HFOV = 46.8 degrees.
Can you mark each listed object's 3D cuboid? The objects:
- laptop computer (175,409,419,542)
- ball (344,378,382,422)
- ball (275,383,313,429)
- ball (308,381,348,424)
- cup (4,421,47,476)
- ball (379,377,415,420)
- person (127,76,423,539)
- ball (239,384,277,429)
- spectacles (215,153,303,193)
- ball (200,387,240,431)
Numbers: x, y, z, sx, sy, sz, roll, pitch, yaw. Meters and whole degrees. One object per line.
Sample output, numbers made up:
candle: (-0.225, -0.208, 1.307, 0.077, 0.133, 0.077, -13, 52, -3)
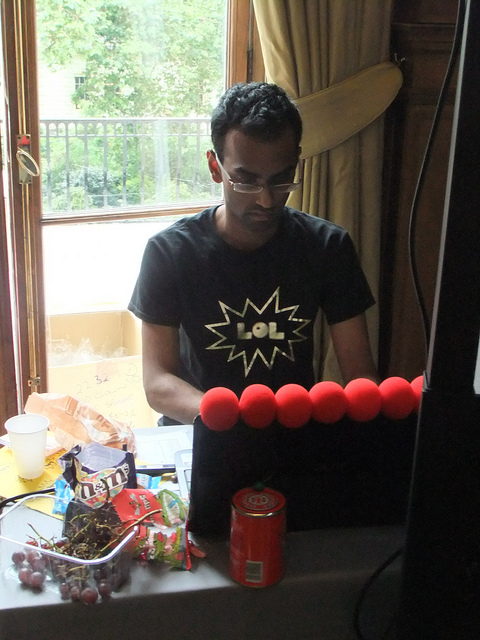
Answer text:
laptop computer: (0.092, 0.229, 0.816, 0.346, 0.202, 0.033, -1, 18, -8)
ball: (0.178, 0.118, 0.808, 0.062, 0.073, 0.062, -6, 11, 1)
ball: (0.076, 0.116, 0.773, 0.055, 0.065, 0.055, 1, 5, 0)
ball: (0.124, 0.115, 0.774, 0.054, 0.064, 0.054, 1, 8, 0)
cup: (-0.375, 0.231, 1.017, 0.092, 0.101, 0.092, -1, -9, 0)
ball: (0.232, 0.117, 0.814, 0.060, 0.071, 0.061, -3, 0, 0)
person: (0.055, 0.015, 1.349, 0.608, 1.064, 0.736, 0, 14, -4)
ball: (0.026, 0.116, 0.764, 0.054, 0.067, 0.055, 1, 4, 0)
spectacles: (0.030, -0.334, 1.265, 0.222, 0.079, 0.115, 7, 19, 16)
ball: (-0.028, 0.124, 0.772, 0.058, 0.069, 0.057, 3, 9, 0)
